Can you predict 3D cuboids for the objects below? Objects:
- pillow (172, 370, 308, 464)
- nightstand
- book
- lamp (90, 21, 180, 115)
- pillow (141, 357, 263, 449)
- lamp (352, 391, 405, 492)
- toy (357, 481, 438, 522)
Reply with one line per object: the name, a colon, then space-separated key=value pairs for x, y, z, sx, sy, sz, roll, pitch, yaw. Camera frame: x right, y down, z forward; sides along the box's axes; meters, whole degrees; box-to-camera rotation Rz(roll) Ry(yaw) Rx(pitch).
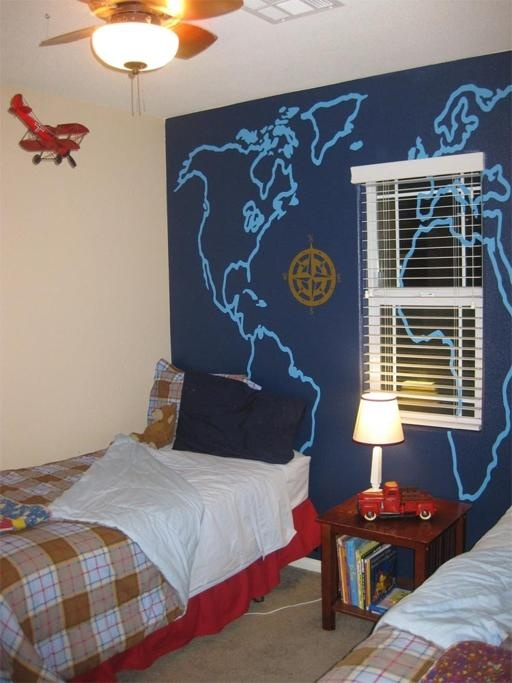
pillow: x=-0.128 y=0.443 z=3.182 sx=0.685 sy=0.431 sz=0.160 roll=9 pitch=-21 yaw=24
nightstand: x=0.574 y=0.976 z=2.597 sx=0.647 sy=0.627 sz=0.649 roll=1 pitch=4 yaw=35
book: x=0.555 y=1.024 z=2.591 sx=0.297 sy=0.325 sz=0.347 roll=3 pitch=4 yaw=41
lamp: x=-0.301 y=-0.727 z=1.402 sx=0.198 sy=0.102 sz=0.218 roll=2 pitch=2 yaw=-14
pillow: x=-0.431 y=0.428 z=3.552 sx=0.552 sy=0.514 sz=0.162 roll=6 pitch=-16 yaw=40
lamp: x=0.566 y=0.462 z=2.613 sx=0.212 sy=0.431 sz=0.306 roll=4 pitch=2 yaw=11
toy: x=0.616 y=0.704 z=2.423 sx=0.261 sy=0.111 sz=0.172 roll=1 pitch=-2 yaw=6
